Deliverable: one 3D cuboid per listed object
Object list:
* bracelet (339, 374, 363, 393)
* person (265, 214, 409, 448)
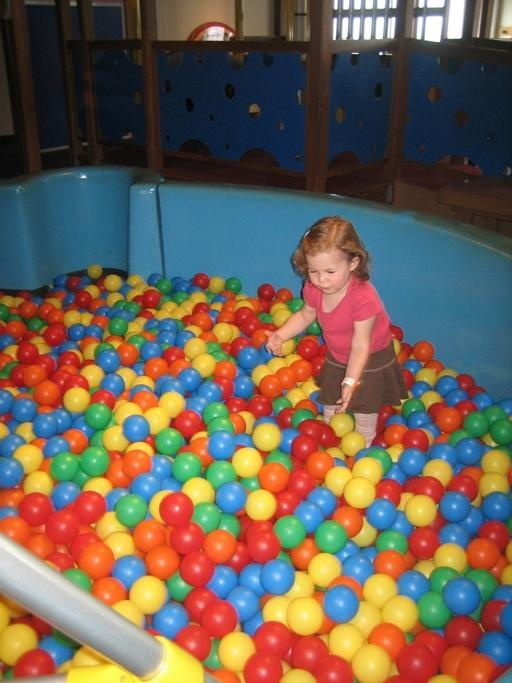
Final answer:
[{"bbox_3d":[0.258,0.124,1.490,0.040,0.025,0.056,10,21,24],"label":"bracelet"},{"bbox_3d":[0.269,0.031,1.594,0.470,0.753,0.391,-4,21,-9],"label":"person"}]
